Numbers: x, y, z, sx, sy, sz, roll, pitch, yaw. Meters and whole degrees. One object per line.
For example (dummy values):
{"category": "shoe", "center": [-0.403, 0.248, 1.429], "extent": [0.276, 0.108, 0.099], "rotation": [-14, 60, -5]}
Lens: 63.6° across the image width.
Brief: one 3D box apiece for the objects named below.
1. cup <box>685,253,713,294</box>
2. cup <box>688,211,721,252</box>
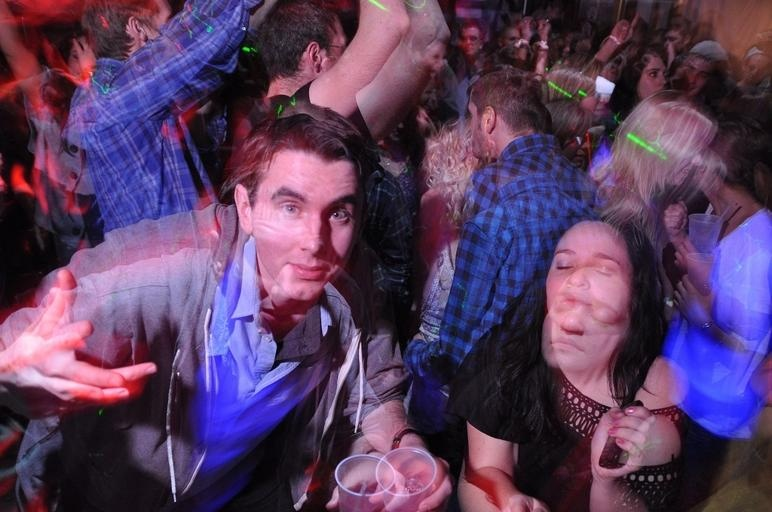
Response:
{"category": "cup", "center": [1.017, 0.050, 2.021], "extent": [0.104, 0.132, 0.118], "rotation": [5, 11, 26]}
{"category": "cup", "center": [1.031, -0.085, 2.023], "extent": [0.074, 0.092, 0.079], "rotation": [-7, 26, 3]}
